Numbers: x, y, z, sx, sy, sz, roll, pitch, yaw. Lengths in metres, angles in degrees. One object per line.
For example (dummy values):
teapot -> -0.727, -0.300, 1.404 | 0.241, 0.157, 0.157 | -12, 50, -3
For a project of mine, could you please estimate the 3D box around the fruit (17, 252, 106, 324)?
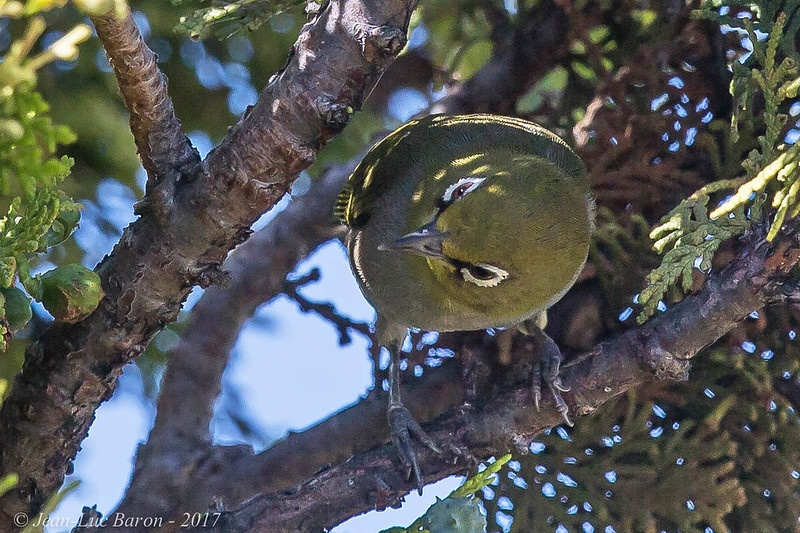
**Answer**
fruit -> -2.001, 0.137, 8.067 | 0.462, 0.247, 0.284 | 13, 30, 0
